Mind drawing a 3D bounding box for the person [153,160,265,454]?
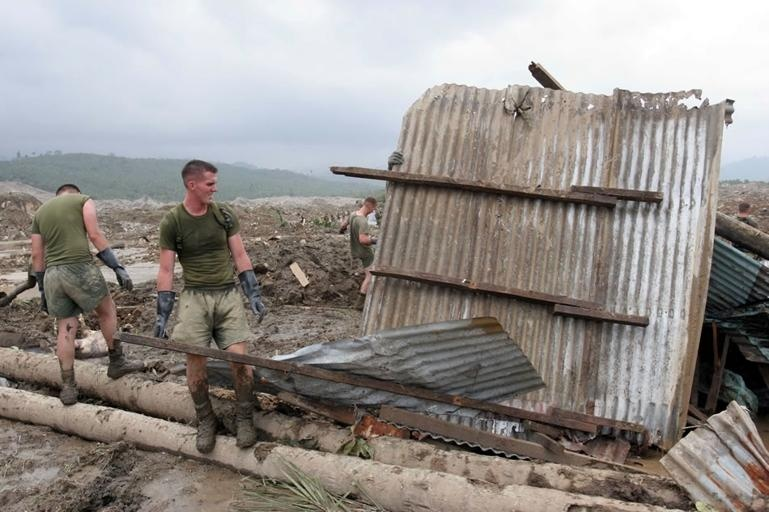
[{"bbox_3d":[-1.946,0.505,6.019,1.149,3.100,1.117,-5,15,-21],"label":"person"}]

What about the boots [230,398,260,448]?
[{"bbox_3d":[-1.528,1.803,5.936,0.251,0.433,0.467,-1,11,-18],"label":"boots"}]

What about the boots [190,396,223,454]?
[{"bbox_3d":[-1.945,1.849,5.929,0.245,0.552,0.299,-3,14,-16],"label":"boots"}]

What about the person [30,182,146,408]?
[{"bbox_3d":[-3.767,0.425,6.749,1.472,2.530,0.948,12,18,38],"label":"person"}]
